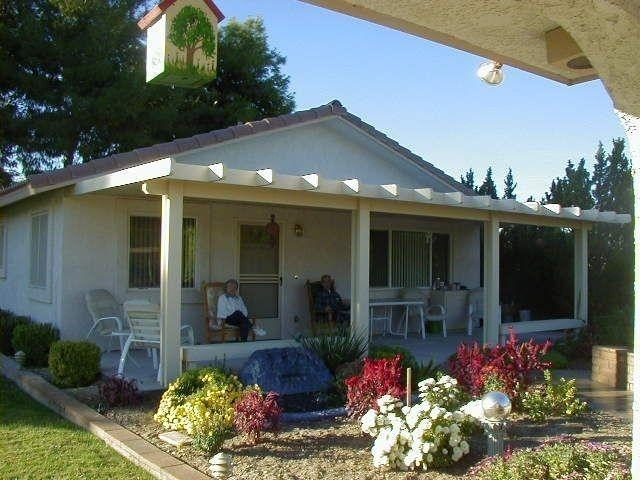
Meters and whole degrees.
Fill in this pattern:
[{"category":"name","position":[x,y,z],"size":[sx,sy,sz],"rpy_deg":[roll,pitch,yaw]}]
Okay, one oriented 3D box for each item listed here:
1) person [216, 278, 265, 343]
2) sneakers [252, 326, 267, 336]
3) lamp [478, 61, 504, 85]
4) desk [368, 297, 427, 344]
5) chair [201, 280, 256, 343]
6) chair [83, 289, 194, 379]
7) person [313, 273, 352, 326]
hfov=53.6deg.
[{"category":"person","position":[-1.382,1.174,10.559],"size":[0.709,0.988,1.497],"rpy_deg":[1,-5,-10]},{"category":"sneakers","position":[-1.002,1.502,10.180],"size":[0.171,0.196,0.444],"rpy_deg":[-5,-3,-31]},{"category":"lamp","position":[1.653,-1.620,6.122],"size":[0.250,0.223,0.196],"rpy_deg":[-1,-4,11]},{"category":"desk","position":[1.655,1.667,13.431],"size":[1.157,0.796,2.012],"rpy_deg":[-1,-5,10]},{"category":"chair","position":[-1.595,1.226,10.625],"size":[0.761,1.494,0.848],"rpy_deg":[5,-16,-36]},{"category":"chair","position":[-2.735,1.473,10.021],"size":[1.069,1.550,1.618],"rpy_deg":[-1,0,38]},{"category":"person","position":[0.250,1.175,12.014],"size":[0.724,0.942,0.647],"rpy_deg":[3,-5,-40]}]
